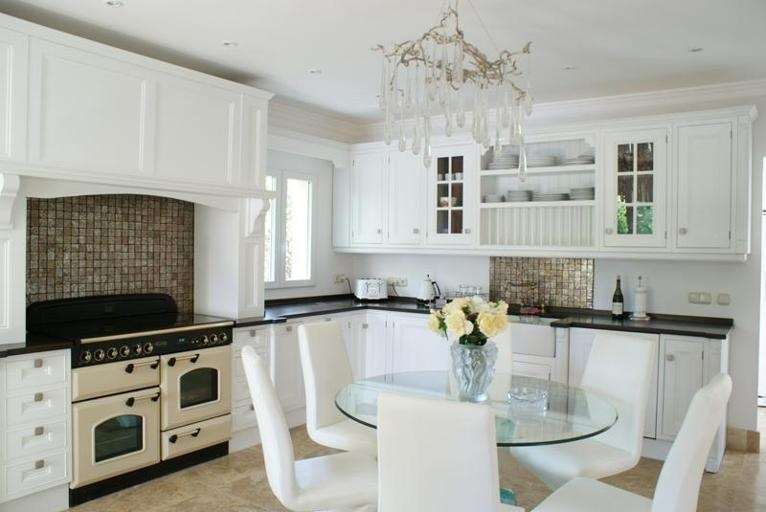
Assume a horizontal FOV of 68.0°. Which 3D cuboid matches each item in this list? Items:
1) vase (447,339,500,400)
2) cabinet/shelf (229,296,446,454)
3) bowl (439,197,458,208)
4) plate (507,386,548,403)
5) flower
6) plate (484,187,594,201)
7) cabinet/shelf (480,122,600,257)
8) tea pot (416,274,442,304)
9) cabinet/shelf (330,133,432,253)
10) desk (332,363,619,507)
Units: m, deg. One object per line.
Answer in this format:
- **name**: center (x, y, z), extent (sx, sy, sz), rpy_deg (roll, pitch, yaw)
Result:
- **vase**: center (0.565, 0.732, 3.774), extent (0.362, 0.377, 0.352), rpy_deg (0, -2, 3)
- **cabinet/shelf**: center (-0.300, 1.149, 5.705), extent (1.500, 0.878, 1.451), rpy_deg (-3, 0, 13)
- **bowl**: center (0.697, -0.601, 6.162), extent (0.129, 0.077, 0.124), rpy_deg (0, -1, 0)
- **plate**: center (0.919, 0.874, 3.584), extent (0.150, 0.056, 0.142), rpy_deg (-4, -2, 19)
- **flower**: center (0.550, 0.410, 3.692), extent (0.497, 0.312, 0.254), rpy_deg (-1, 1, 4)
- **plate**: center (1.608, -0.638, 5.849), extent (1.135, 0.174, 0.238), rpy_deg (-1, 1, 30)
- **cabinet/shelf**: center (1.613, -0.676, 5.643), extent (1.424, 1.272, 0.433), rpy_deg (-1, -3, 32)
- **tea pot**: center (0.513, 0.380, 6.485), extent (0.304, 0.303, 0.237), rpy_deg (2, 0, 3)
- **cabinet/shelf**: center (0.009, -0.720, 6.329), extent (1.482, 1.310, 0.528), rpy_deg (0, 0, 33)
- **desk**: center (0.927, 1.090, 3.723), extent (1.273, 0.460, 1.250), rpy_deg (-1, -4, 12)
